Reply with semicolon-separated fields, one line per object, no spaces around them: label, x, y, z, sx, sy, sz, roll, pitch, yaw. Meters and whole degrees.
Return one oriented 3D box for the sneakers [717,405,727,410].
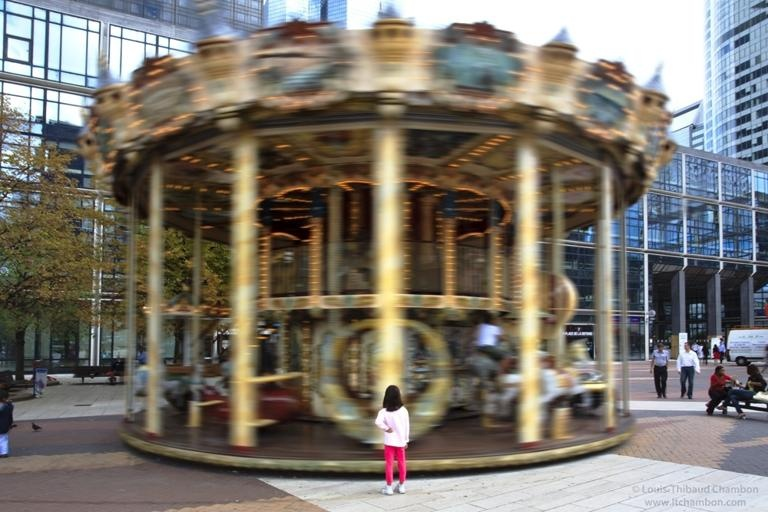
sneakers;11.796;5.247;31.681;0.343;0.202;0.697;-3;-15;13

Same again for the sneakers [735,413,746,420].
sneakers;12.143;5.412;30.849;0.297;0.215;0.501;4;10;22
